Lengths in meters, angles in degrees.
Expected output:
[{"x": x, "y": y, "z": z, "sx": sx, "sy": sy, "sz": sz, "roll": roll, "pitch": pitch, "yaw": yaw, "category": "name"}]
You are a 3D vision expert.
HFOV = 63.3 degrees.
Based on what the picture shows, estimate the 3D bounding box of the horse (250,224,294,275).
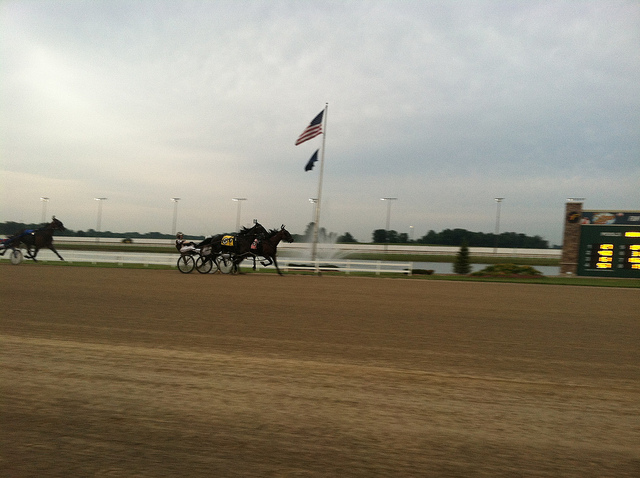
[{"x": -2.184, "y": 0.401, "z": 20.591, "sx": 0.999, "sy": 1.853, "sz": 3.581, "roll": 5, "pitch": -5, "yaw": -42, "category": "horse"}]

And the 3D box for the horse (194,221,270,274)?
[{"x": -3.429, "y": 0.234, "z": 20.075, "sx": 3.951, "sy": 1.644, "sz": 0.769, "roll": -3, "pitch": -6, "yaw": 32, "category": "horse"}]

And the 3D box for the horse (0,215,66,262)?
[{"x": -11.989, "y": 0.055, "z": 21.938, "sx": 2.054, "sy": 2.061, "sz": 2.620, "roll": 0, "pitch": 8, "yaw": -20, "category": "horse"}]

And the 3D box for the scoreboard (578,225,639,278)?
[{"x": 14.499, "y": 0.639, "z": 25.592, "sx": 3.878, "sy": 2.264, "sz": 0.476, "roll": 2, "pitch": -11, "yaw": 33, "category": "scoreboard"}]
